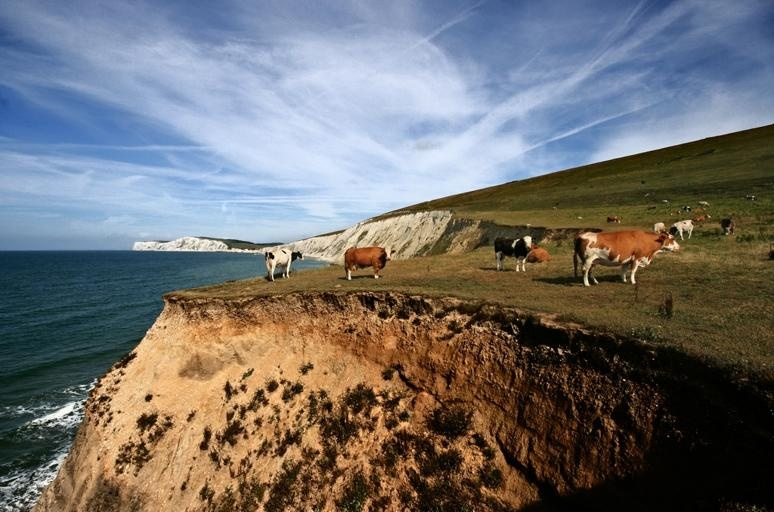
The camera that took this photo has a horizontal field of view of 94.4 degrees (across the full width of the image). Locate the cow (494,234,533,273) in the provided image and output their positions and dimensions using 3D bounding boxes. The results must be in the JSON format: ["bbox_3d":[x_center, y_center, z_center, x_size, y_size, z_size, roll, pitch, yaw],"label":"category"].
[{"bbox_3d":[9.227,-0.100,25.855,1.726,2.520,2.473,-1,7,-14],"label":"cow"}]

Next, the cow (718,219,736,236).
[{"bbox_3d":[26.952,-2.317,28.316,0.711,1.243,2.446,1,27,40],"label":"cow"}]

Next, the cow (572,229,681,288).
[{"bbox_3d":[13.927,0.152,21.399,5.412,3.245,2.553,-2,8,-25],"label":"cow"}]

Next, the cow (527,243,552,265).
[{"bbox_3d":[12.153,-0.010,29.263,1.756,1.066,2.105,-23,9,-27],"label":"cow"}]
